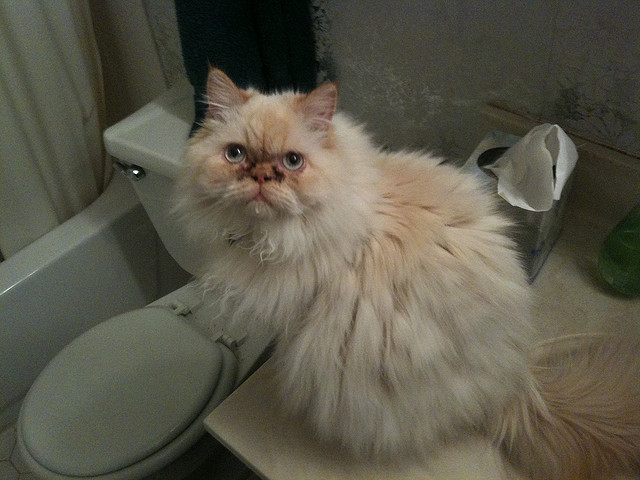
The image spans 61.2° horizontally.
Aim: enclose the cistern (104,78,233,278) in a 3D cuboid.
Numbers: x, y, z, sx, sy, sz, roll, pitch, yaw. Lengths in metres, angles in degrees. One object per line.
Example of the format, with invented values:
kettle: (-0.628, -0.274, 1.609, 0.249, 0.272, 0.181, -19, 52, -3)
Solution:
cistern: (-0.385, -0.098, 1.439, 0.250, 0.491, 0.384, -19, 45, -22)
